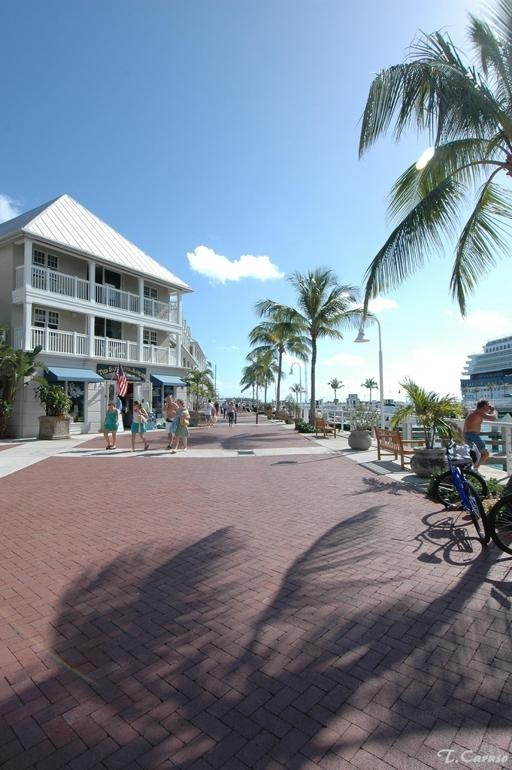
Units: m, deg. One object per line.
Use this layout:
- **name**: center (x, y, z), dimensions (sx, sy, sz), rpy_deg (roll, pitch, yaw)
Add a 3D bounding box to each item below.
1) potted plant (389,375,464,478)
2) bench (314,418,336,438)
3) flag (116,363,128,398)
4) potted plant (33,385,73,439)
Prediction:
- **potted plant**: center (3.329, 0.806, 9.286), dimensions (1.061, 1.776, 1.361), rpy_deg (-1, 6, -4)
- **bench**: center (3.196, 1.987, 21.777), dimensions (0.881, 1.321, 0.987), rpy_deg (-1, 3, -7)
- **flag**: center (-4.903, -0.109, 17.589), dimensions (0.312, 1.024, 1.023), rpy_deg (0, -1, -17)
- **potted plant**: center (-7.768, 1.047, 18.581), dimensions (1.113, 2.120, 0.885), rpy_deg (0, -1, -17)
